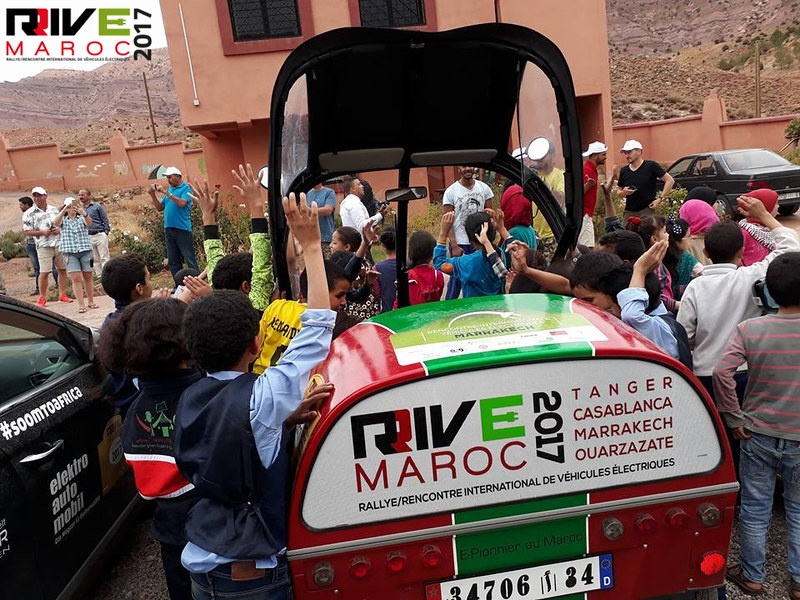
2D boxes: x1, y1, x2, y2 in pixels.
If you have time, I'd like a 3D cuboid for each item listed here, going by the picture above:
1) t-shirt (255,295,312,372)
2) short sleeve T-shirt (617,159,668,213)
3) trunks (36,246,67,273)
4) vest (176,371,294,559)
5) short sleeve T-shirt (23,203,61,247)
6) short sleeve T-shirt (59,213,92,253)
[{"bbox_3d":[-0.628,0.189,3.172,0.282,0.393,0.235,26,7,6],"label":"t-shirt"},{"bbox_3d":[3.368,-1.595,8.203,0.721,0.761,0.396,-5,1,40],"label":"short sleeve T-shirt"},{"bbox_3d":[-6.073,-0.746,10.246,0.215,0.404,0.400,-7,2,15],"label":"trunks"},{"bbox_3d":[-0.776,0.759,2.652,0.496,0.782,0.317,-2,15,2],"label":"vest"},{"bbox_3d":[-6.204,-1.308,10.246,0.802,0.724,0.524,6,18,27],"label":"short sleeve T-shirt"},{"bbox_3d":[-5.422,-1.132,9.895,0.548,0.765,0.399,-4,-10,-26],"label":"short sleeve T-shirt"}]
